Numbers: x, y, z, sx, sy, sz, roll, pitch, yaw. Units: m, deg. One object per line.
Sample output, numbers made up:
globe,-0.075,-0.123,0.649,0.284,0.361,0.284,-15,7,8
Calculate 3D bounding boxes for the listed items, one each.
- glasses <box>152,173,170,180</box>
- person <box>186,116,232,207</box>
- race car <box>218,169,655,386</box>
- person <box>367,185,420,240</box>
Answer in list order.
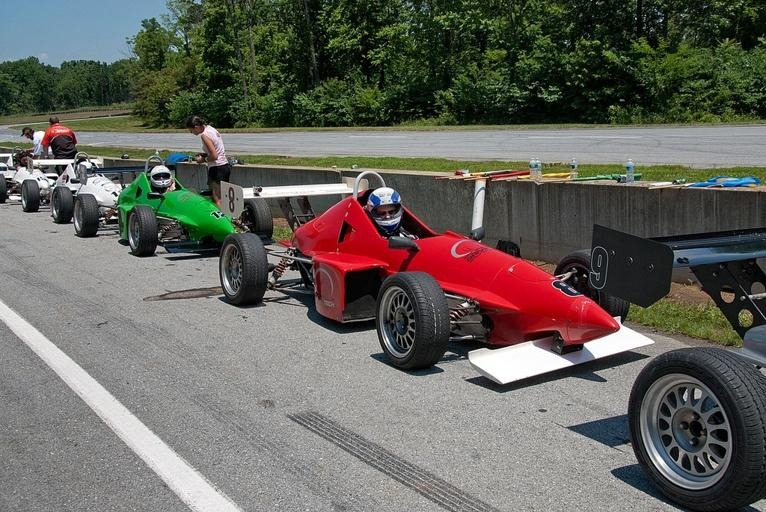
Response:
glasses,-4.659,-1.657,12.085,0.309,0.129,0.080,-7,10,-28
person,-3.729,-1.920,12.783,0.721,2.316,0.754,5,20,28
race car,0.351,0.025,7.936,3.325,1.907,5.901,-5,11,-37
person,0.043,-0.564,7.478,0.543,0.541,1.034,-9,16,-4
